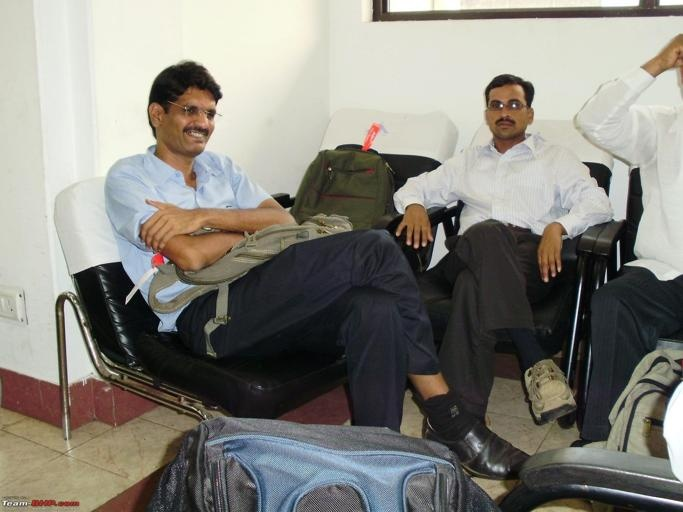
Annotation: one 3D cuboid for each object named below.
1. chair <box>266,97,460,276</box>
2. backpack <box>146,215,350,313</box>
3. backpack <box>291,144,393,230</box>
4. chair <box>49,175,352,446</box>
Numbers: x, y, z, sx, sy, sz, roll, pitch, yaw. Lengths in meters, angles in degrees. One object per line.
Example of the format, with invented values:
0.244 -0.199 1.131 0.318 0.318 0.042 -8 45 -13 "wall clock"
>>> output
0.136 -0.389 3.194 0.790 1.099 0.865 11 16 17 "chair"
-0.325 0.018 1.943 0.643 0.215 0.306 -17 32 0 "backpack"
0.029 -0.340 2.866 0.486 0.563 0.293 12 5 21 "backpack"
-0.434 0.046 2.084 0.910 0.838 0.661 8 18 27 "chair"
